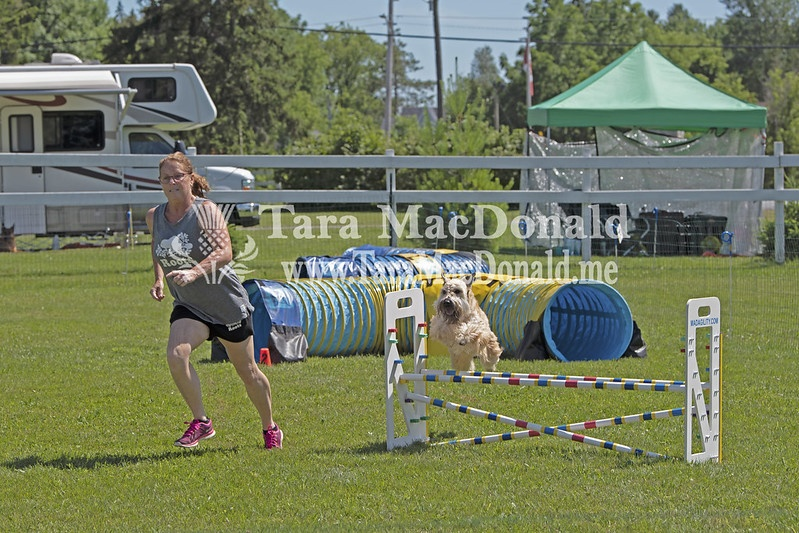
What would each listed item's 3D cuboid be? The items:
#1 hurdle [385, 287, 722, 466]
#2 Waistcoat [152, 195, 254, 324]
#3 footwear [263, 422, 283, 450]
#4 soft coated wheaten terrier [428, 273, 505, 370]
[{"bbox_3d":[3.385,2.401,34.637,7.415,3.882,1.658,-1,3,6],"label":"hurdle"},{"bbox_3d":[-4.478,-0.068,34.334,2.059,2.896,1.479,-1,16,26],"label":"Waistcoat"},{"bbox_3d":[-2.795,3.824,34.246,0.236,0.762,0.312,-3,-5,5],"label":"footwear"},{"bbox_3d":[1.596,1.450,36.825,1.526,1.814,3.589,4,-10,17],"label":"soft coated wheaten terrier"}]
